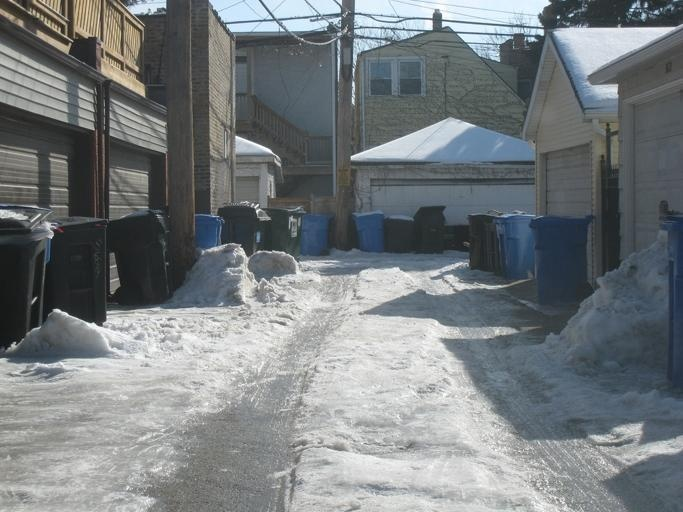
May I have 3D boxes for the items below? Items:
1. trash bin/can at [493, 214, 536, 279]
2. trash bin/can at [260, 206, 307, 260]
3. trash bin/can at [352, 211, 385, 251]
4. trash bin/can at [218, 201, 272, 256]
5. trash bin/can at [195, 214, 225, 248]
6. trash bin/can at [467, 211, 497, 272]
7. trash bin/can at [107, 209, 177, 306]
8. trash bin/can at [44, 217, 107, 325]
[{"bbox_3d":[3.604,-0.164,15.023,0.829,1.277,0.857,2,0,43],"label":"trash bin/can"},{"bbox_3d":[-1.364,-0.434,17.880,0.869,1.399,1.039,-5,8,-24],"label":"trash bin/can"},{"bbox_3d":[0.804,-0.335,21.914,0.821,1.378,0.862,1,-43,-1],"label":"trash bin/can"},{"bbox_3d":[-2.014,-0.544,16.468,0.966,1.568,1.085,0,1,4],"label":"trash bin/can"},{"bbox_3d":[-2.375,-0.446,14.391,0.502,0.707,0.553,0,0,1],"label":"trash bin/can"},{"bbox_3d":[3.058,-0.307,16.849,0.737,1.213,0.784,-4,7,-27],"label":"trash bin/can"},{"bbox_3d":[-3.239,0.035,12.487,0.894,1.425,0.426,-6,14,-19],"label":"trash bin/can"},{"bbox_3d":[-3.541,0.216,10.313,0.886,1.384,0.976,1,8,-1],"label":"trash bin/can"}]
